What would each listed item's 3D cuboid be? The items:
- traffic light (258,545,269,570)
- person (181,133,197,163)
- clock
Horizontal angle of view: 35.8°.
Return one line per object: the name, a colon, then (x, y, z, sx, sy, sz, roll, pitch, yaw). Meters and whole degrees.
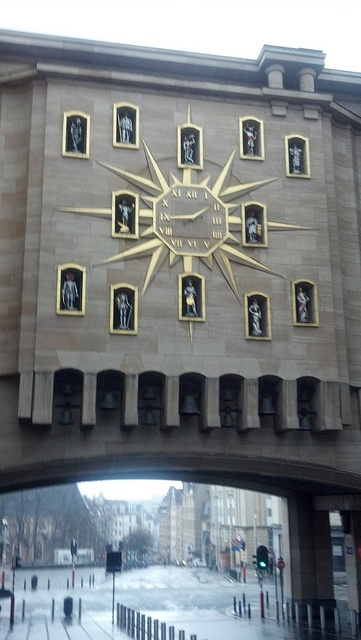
traffic light: (2.084, 6.039, 14.214, 0.297, 0.572, 1.035, -4, -21, 7)
person: (0.308, -6.134, 19.873, 0.273, 1.555, 0.611, -14, -22, 34)
clock: (0.216, -3.270, 18.577, 2.090, 2.262, 0.241, 5, -20, -19)
